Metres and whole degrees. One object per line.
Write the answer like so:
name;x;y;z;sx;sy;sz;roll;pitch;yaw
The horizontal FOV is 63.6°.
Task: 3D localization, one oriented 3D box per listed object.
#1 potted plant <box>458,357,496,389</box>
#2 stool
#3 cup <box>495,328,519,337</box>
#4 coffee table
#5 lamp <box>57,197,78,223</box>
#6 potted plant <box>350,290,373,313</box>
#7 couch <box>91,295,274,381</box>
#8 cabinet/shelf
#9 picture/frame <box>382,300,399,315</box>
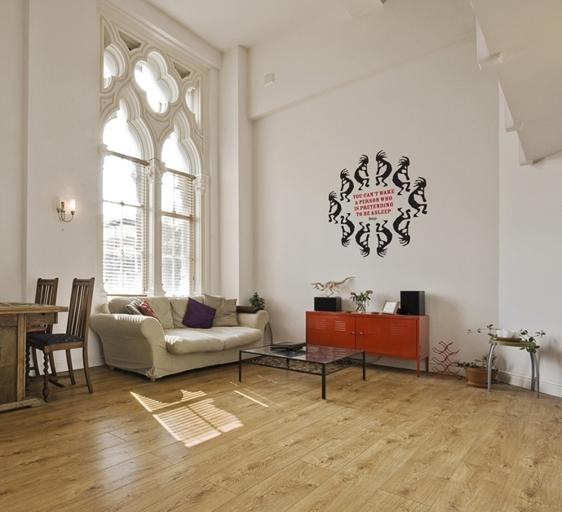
potted plant;2.053;1.182;4.625;0.301;0.170;0.299;2;-4;-39
stool;2.199;1.011;4.321;0.518;0.603;0.502;-1;-3;10
cup;2.206;0.747;4.383;0.099;0.047;0.126;3;-1;3
coffee table;0.202;1.115;4.601;1.046;0.388;0.896;1;2;37
lamp;-2.389;-0.500;5.052;0.230;0.255;0.109;-1;2;-42
potted plant;1.029;0.584;5.709;0.263;0.242;0.262;-5;-7;39
couch;-1.160;0.903;5.385;1.096;0.834;1.688;1;2;39
cabinet/shelf;1.014;0.954;5.495;1.471;0.559;0.365;-2;0;37
picture/frame;1.304;0.603;5.293;0.022;0.131;0.151;37;-22;-27
